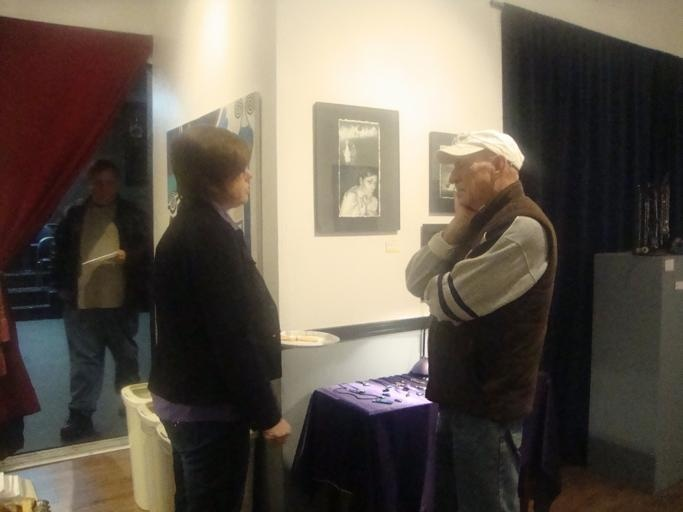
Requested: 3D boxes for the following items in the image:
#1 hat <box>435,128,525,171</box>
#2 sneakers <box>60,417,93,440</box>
[{"bbox_3d":[0.632,-0.477,2.746,0.289,0.144,0.205,6,-6,0],"label":"hat"},{"bbox_3d":[-1.827,1.201,4.205,0.213,0.170,0.118,8,-10,-24],"label":"sneakers"}]
